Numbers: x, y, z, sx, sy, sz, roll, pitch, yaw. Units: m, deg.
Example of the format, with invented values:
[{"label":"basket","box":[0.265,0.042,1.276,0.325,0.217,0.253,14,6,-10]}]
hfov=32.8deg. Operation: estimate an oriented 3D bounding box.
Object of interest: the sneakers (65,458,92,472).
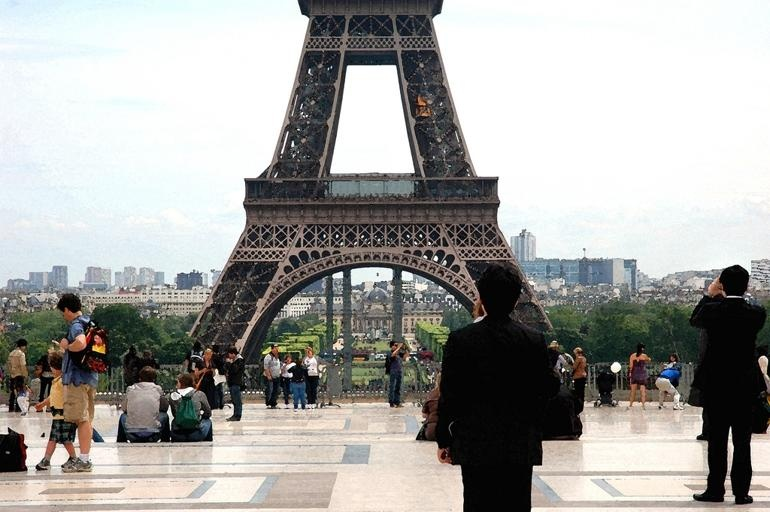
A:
[{"label":"sneakers","box":[-6.658,4.545,28.347,0.575,0.243,0.248,2,-3,-6]}]

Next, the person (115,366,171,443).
[{"label":"person","box":[-5.708,3.503,30.936,1.198,1.796,0.909,1,-7,-11]}]

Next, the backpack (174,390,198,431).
[{"label":"backpack","box":[-4.721,3.724,31.110,0.604,0.945,0.327,1,-8,-8]}]

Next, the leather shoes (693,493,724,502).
[{"label":"leather shoes","box":[6.574,4.919,26.599,0.584,0.220,0.201,3,-10,7]}]

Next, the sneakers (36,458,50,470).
[{"label":"sneakers","box":[-7.515,4.563,28.591,0.361,0.216,0.163,0,-6,11]}]

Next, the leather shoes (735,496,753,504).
[{"label":"leather shoes","box":[7.302,4.923,26.466,0.420,0.173,0.142,2,-7,-23]}]
